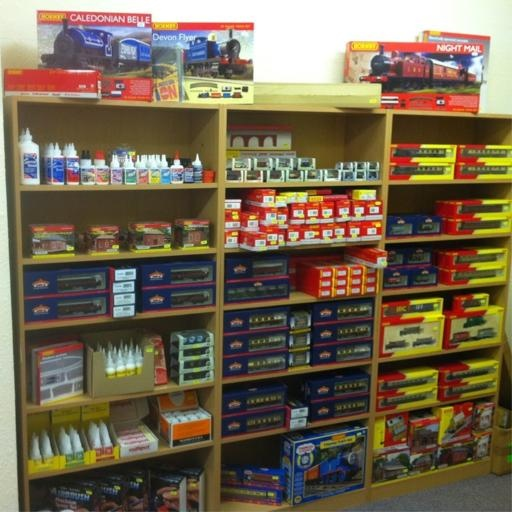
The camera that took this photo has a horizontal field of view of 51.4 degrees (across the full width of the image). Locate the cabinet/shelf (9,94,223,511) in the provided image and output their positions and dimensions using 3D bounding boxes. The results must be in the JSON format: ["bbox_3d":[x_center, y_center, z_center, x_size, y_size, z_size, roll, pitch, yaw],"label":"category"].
[{"bbox_3d":[-0.719,0.339,2.733,1.211,2.201,0.485,-10,12,-26],"label":"cabinet/shelf"}]

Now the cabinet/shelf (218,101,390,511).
[{"bbox_3d":[0.263,0.322,3.167,1.159,2.329,0.511,-8,11,-16],"label":"cabinet/shelf"}]
